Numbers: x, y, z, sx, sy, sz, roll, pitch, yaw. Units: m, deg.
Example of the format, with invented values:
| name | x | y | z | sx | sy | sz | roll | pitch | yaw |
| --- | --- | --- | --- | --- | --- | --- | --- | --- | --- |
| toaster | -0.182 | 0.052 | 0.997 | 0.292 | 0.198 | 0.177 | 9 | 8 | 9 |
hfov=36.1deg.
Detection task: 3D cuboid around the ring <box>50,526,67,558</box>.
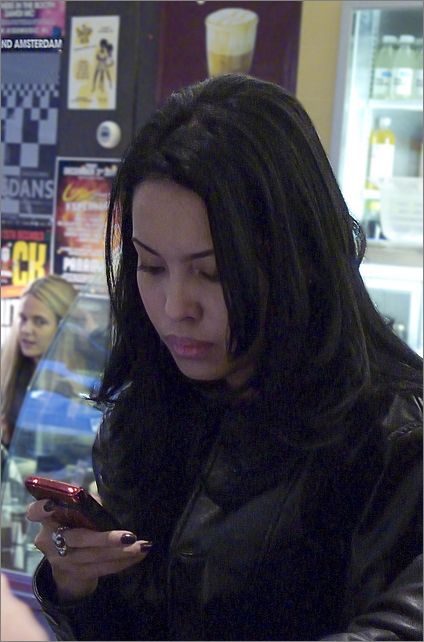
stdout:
| name | x | y | z | sx | sy | sz | roll | pitch | yaw |
| --- | --- | --- | --- | --- | --- | --- | --- | --- | --- |
| ring | -0.197 | 0.288 | 0.838 | 0.019 | 0.034 | 0.019 | -3 | 25 | 1 |
